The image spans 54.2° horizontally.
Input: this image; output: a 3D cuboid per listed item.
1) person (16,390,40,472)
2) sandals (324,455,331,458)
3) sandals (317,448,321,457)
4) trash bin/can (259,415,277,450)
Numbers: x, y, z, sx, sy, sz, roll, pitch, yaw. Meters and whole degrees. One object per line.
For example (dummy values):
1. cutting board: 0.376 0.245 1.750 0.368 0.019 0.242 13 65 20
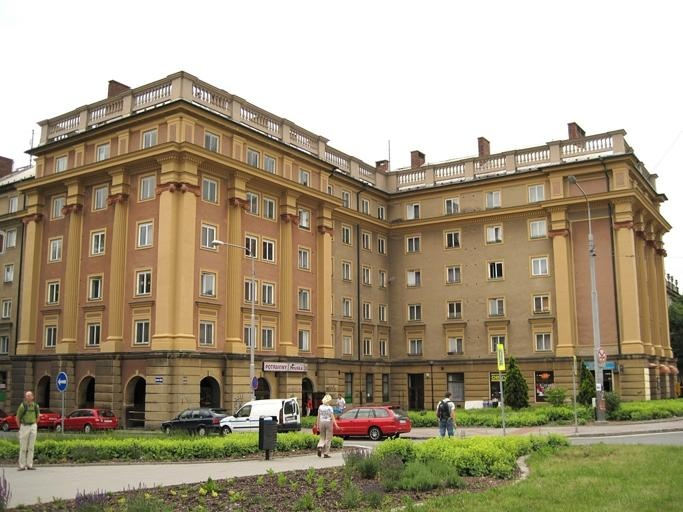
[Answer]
1. person: -11.869 6.591 25.071 0.781 3.234 0.985 -6 -8 25
2. sandals: -0.564 8.413 28.011 0.272 0.179 0.104 -4 -5 2
3. sandals: -0.891 8.261 28.063 0.145 0.331 0.228 -1 -18 -5
4. trash bin/can: -3.044 7.365 27.600 0.669 1.303 0.562 0 -18 -8
